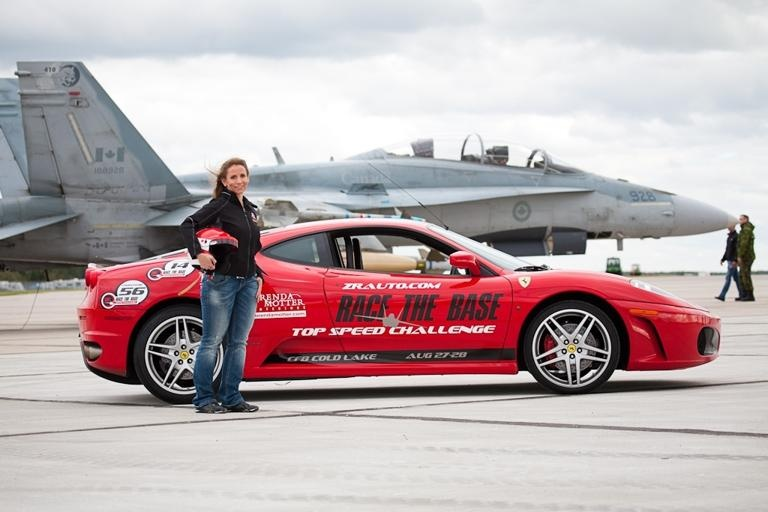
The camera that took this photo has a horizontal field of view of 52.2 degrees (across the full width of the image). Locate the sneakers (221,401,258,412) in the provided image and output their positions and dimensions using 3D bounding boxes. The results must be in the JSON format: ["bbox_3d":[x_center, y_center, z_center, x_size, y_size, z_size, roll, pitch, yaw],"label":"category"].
[{"bbox_3d":[-1.323,1.420,7.278,0.346,0.091,0.104,-3,14,4],"label":"sneakers"}]

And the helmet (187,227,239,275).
[{"bbox_3d":[-1.570,-0.085,7.153,0.489,0.280,0.310,-12,1,3],"label":"helmet"}]

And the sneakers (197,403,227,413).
[{"bbox_3d":[-1.589,1.421,7.257,0.283,0.079,0.095,-2,0,15],"label":"sneakers"}]

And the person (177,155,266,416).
[{"bbox_3d":[-1.433,0.271,7.327,0.564,2.350,0.694,2,8,24],"label":"person"}]

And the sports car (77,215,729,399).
[{"bbox_3d":[0.095,0.609,8.308,5.935,1.119,2.351,-1,0,-1],"label":"sports car"}]
